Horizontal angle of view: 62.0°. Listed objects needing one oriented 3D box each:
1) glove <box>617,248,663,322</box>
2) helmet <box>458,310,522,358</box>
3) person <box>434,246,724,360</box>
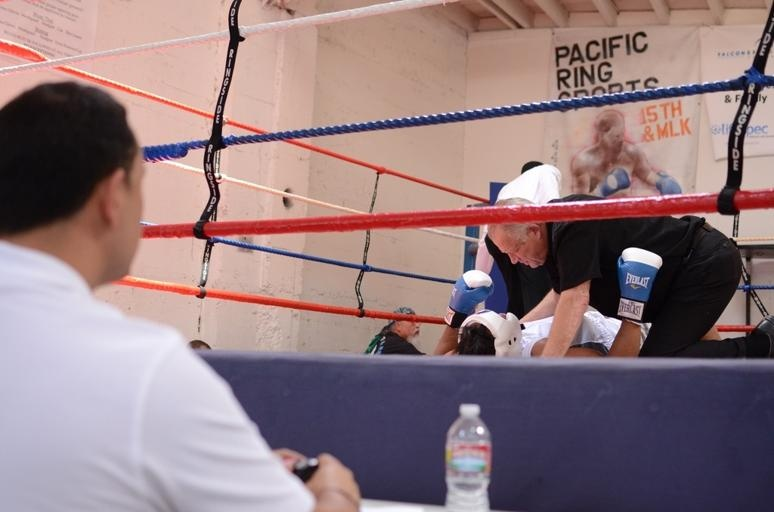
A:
[{"bbox_3d":[0.848,0.097,2.151,0.170,0.167,0.128,0,0,-2],"label":"glove"},{"bbox_3d":[0.385,0.254,2.323,0.157,0.171,0.201,18,11,14],"label":"helmet"},{"bbox_3d":[0.722,0.279,2.386,0.875,0.317,0.614,4,-11,-33],"label":"person"}]
